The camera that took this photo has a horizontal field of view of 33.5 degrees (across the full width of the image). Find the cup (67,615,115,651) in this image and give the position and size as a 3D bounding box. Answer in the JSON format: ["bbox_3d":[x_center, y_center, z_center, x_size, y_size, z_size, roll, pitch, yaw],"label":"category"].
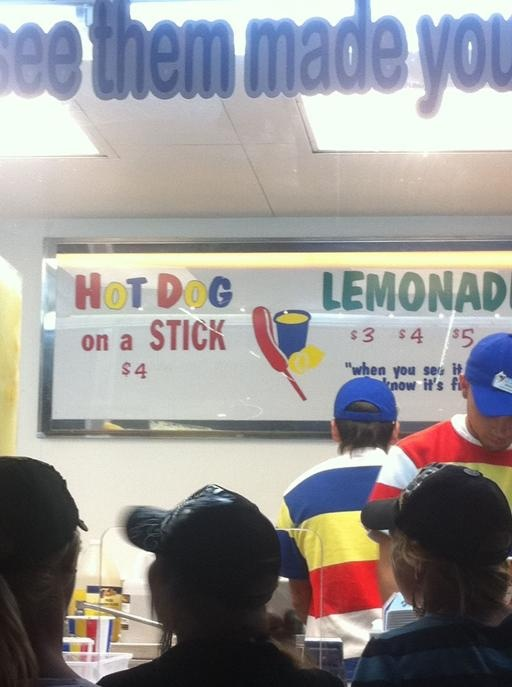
[{"bbox_3d":[-0.271,0.481,1.406,0.081,0.080,0.076,1,-13,0],"label":"cup"}]

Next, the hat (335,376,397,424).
[{"bbox_3d":[0.177,0.084,1.427,0.108,0.078,0.168,3,4,8],"label":"hat"}]

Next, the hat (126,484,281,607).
[{"bbox_3d":[-0.095,0.270,1.130,0.235,0.156,0.095,0,-2,23],"label":"hat"}]
